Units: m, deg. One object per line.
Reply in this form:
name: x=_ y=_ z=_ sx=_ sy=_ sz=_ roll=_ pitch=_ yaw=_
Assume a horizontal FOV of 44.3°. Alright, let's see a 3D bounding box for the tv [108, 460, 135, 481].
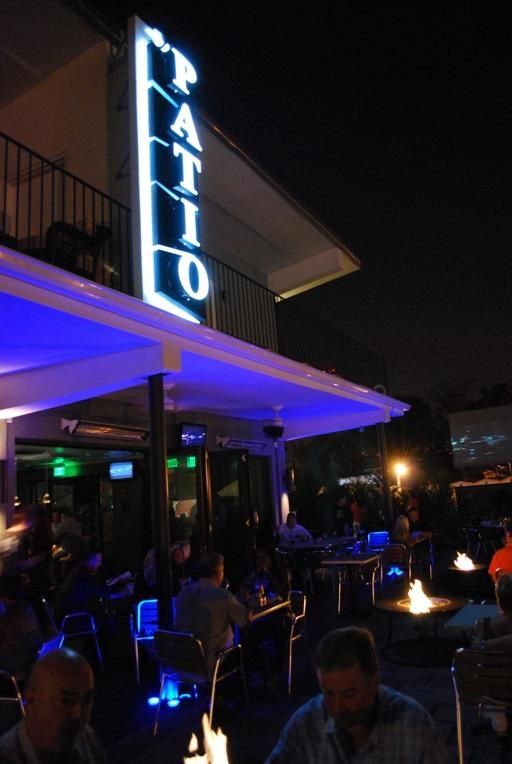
tv: x=-1.843 y=1.220 z=8.671 sx=0.477 sy=0.336 sz=0.261 roll=-8 pitch=-15 yaw=34
